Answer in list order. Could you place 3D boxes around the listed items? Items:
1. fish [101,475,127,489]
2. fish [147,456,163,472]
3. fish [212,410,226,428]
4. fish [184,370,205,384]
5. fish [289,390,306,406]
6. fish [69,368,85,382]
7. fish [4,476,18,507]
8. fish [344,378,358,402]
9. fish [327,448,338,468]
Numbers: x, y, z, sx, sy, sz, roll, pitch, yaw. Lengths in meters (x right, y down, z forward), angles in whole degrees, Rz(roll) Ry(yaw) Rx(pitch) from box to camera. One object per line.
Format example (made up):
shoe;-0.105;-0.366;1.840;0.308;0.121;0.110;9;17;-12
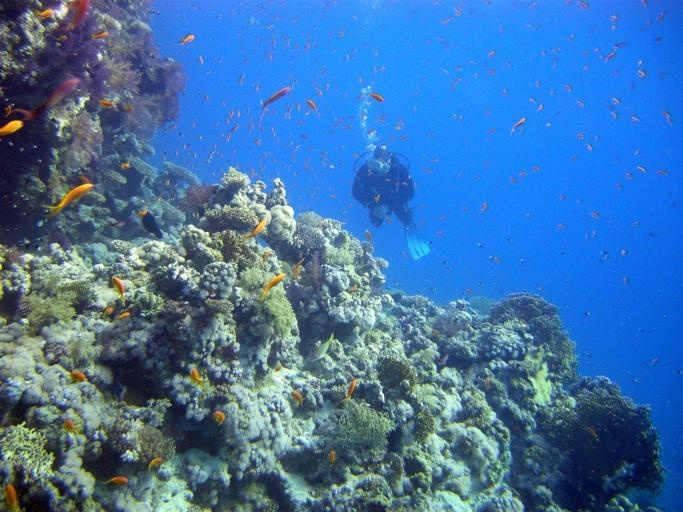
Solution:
fish;-4.782;4.699;13.034;0.503;0.279;0.175;0;1;-7
fish;-3.978;4.435;13.353;0.311;0.308;0.122;20;-5;-38
fish;-2.699;3.558;13.686;0.287;0.325;0.241;0;1;-18
fish;-3.261;2.684;13.841;0.157;0.267;0.321;-3;-34;25
fish;-1.074;3.367;14.824;0.325;0.141;0.679;-4;-38;3
fish;-5.614;2.512;13.156;0.250;0.079;0.144;33;-12;18
fish;-6.562;4.700;12.413;0.191;0.541;0.281;-12;21;-23
fish;0.218;3.226;15.104;0.322;0.164;0.812;7;-32;-10
fish;-0.213;4.638;14.412;0.076;0.336;0.208;-33;20;-37
